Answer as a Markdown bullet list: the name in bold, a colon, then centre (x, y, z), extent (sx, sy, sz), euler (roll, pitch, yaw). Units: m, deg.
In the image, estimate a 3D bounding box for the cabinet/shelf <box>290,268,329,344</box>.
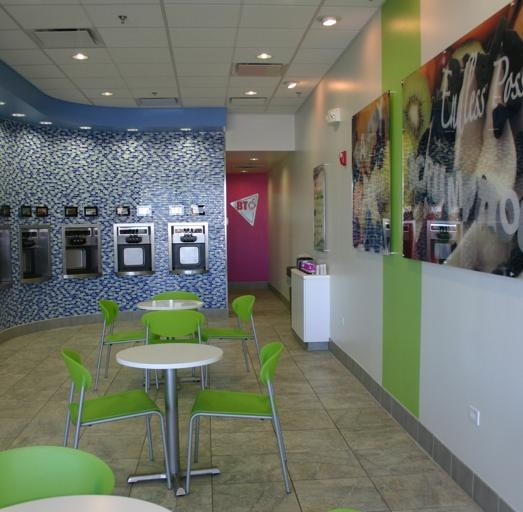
- **cabinet/shelf**: centre (0.718, 0.713, 5.823), extent (0.455, 1.034, 1.168), euler (0, 1, -5)
